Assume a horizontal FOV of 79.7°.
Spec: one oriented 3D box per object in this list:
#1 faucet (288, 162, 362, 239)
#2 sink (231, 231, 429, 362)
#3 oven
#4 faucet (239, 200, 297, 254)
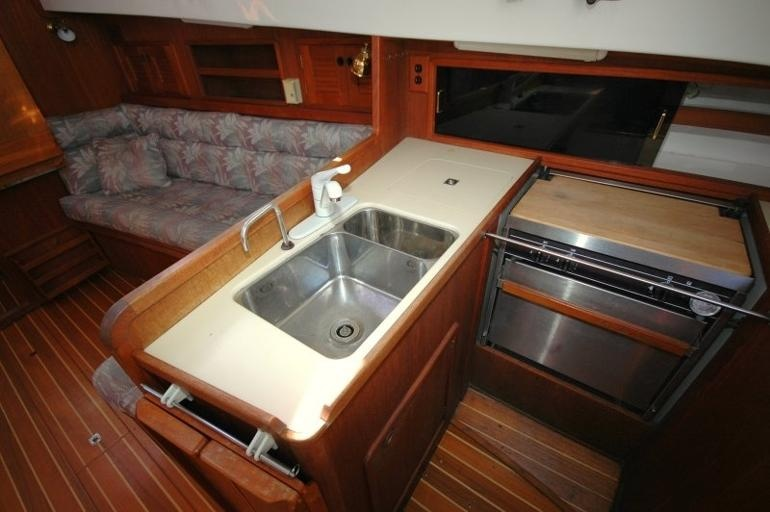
[{"bbox_3d":[-0.260,-0.348,2.455,0.176,0.274,0.594,15,38,15],"label":"faucet"},{"bbox_3d":[-0.254,0.178,2.375,0.684,0.326,0.729,27,52,25],"label":"sink"},{"bbox_3d":[1.197,0.224,2.565,1.209,1.038,0.543,16,32,20],"label":"oven"},{"bbox_3d":[-0.588,-0.146,2.244,0.256,0.231,0.150,-11,33,-25],"label":"faucet"}]
